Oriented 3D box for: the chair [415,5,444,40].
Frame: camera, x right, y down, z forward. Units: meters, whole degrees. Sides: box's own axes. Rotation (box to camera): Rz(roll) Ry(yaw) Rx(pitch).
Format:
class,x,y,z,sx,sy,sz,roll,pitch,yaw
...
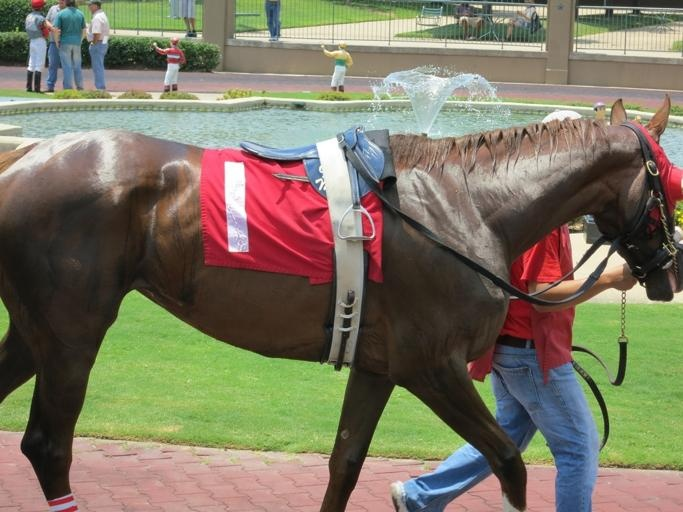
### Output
class,x,y,z,sx,sy,sz,roll,pitch,yaw
chair,3.274,-8.857,35.694,0.382,0.847,1.307,-5,14,-35
